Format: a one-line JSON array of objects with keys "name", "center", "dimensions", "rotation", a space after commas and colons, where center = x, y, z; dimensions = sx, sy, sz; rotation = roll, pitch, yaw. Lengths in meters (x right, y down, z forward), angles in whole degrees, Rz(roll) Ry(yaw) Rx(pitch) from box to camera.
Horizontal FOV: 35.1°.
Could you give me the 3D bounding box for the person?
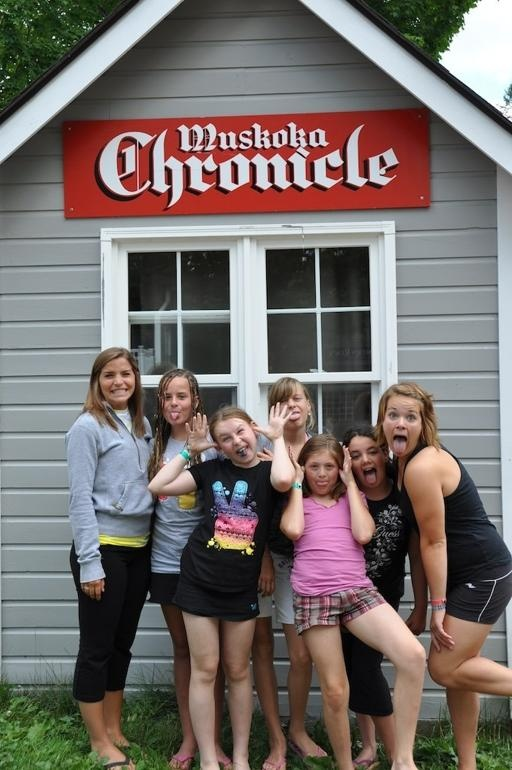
[{"name": "person", "center": [-0.286, 0.823, 3.869], "dimensions": [1.254, 1.662, 0.566], "rotation": [2, 1, -13]}]
